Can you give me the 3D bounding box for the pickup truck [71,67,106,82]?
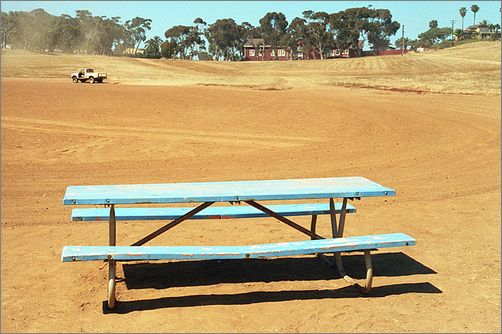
[{"bbox_3d":[-13.139,-7.306,54.916,2.362,1.094,1.465,3,7,6],"label":"pickup truck"}]
